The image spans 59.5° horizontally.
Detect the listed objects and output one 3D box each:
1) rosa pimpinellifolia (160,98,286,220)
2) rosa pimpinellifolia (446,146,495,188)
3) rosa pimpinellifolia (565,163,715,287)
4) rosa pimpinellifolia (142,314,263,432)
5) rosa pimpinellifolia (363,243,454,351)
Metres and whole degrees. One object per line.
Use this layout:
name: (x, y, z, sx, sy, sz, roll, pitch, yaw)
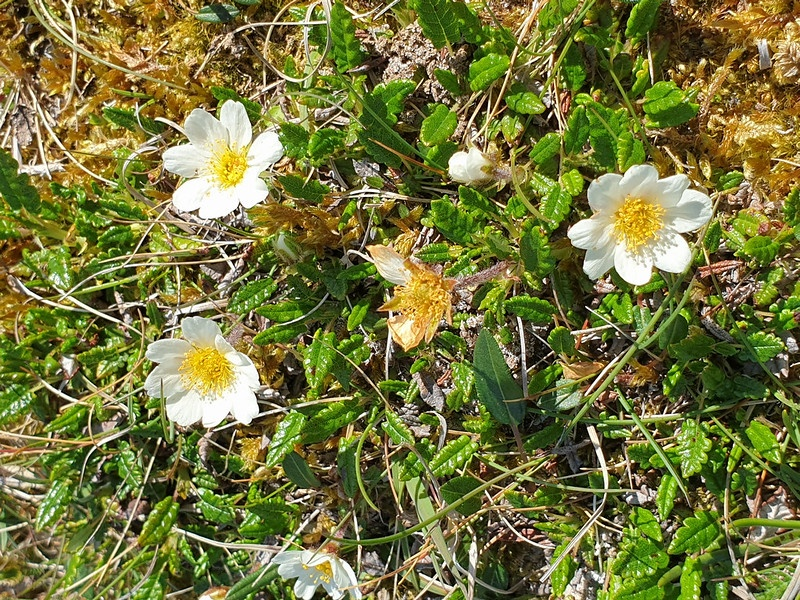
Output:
rosa pimpinellifolia: (-0.683, -0.536, 2.744, 0.478, 0.265, 0.417, -10, 85, -3)
rosa pimpinellifolia: (0.275, -0.509, 2.663, 0.139, 0.066, 0.141, -12, 85, 5)
rosa pimpinellifolia: (0.823, -0.267, 2.460, 0.399, 0.186, 0.454, -4, 108, 6)
rosa pimpinellifolia: (-0.792, 0.286, 2.810, 0.493, 0.382, 0.419, 1, 85, -1)
rosa pimpinellifolia: (0.047, -0.060, 2.583, 0.298, 0.143, 0.378, -31, 84, 33)
